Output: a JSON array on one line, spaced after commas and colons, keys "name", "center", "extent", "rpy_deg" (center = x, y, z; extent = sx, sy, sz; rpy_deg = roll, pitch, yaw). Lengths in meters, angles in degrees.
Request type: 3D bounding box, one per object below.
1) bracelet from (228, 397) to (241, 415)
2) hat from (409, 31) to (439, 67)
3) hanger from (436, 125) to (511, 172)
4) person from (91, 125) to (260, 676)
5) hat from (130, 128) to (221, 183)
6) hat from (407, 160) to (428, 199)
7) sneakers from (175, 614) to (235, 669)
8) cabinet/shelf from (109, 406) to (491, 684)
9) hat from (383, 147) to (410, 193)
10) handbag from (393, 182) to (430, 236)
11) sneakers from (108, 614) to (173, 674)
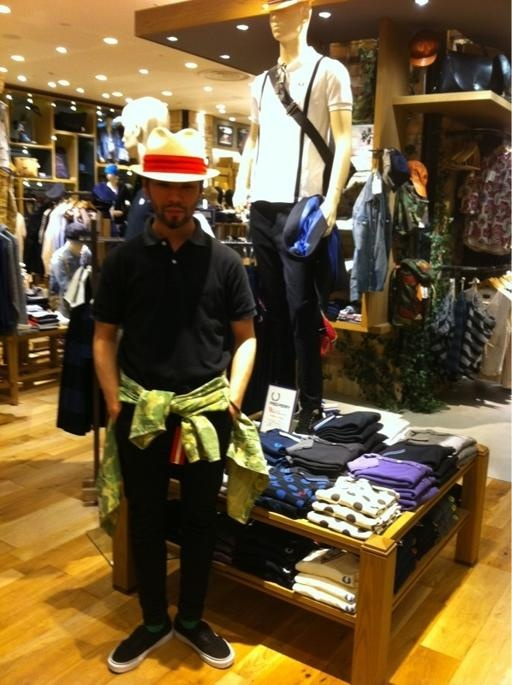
[{"name": "bracelet", "center": [-0.059, 0.169, 1.312], "extent": [0.036, 0.040, 0.041], "rpy_deg": [-4, 23, -17]}, {"name": "hat", "center": [0.994, -1.762, 2.976], "extent": [0.158, 0.199, 0.132], "rpy_deg": [2, 1, 21]}, {"name": "hanger", "center": [1.533, -1.394, 3.542], "extent": [0.437, 0.236, 0.378], "rpy_deg": [0, 10, 8]}, {"name": "person", "center": [-0.201, 0.160, 1.336], "extent": [0.463, 1.161, 0.344], "rpy_deg": [2, 1, -20]}, {"name": "hat", "center": [-0.201, -0.464, 1.219], "extent": [0.157, 0.120, 0.129], "rpy_deg": [2, 1, -15]}, {"name": "hat", "center": [1.102, -1.124, 3.396], "extent": [0.185, 0.224, 0.290], "rpy_deg": [2, 9, 8]}, {"name": "sneakers", "center": [-0.150, 0.808, 1.394], "extent": [0.173, 0.065, 0.080], "rpy_deg": [15, 13, 43]}, {"name": "cabinet/shelf", "center": [0.356, 0.599, 1.636], "extent": [0.742, 0.400, 0.828], "rpy_deg": [12, 17, 31]}, {"name": "hat", "center": [0.884, -1.103, 3.142], "extent": [0.135, 0.243, 0.208], "rpy_deg": [2, 1, 28]}, {"name": "handbag", "center": [1.040, -0.913, 3.352], "extent": [0.250, 0.347, 0.080], "rpy_deg": [2, 1, -21]}, {"name": "sneakers", "center": [-0.324, 0.826, 1.390], "extent": [0.065, 0.068, 0.174], "rpy_deg": [3, 4, 34]}]
